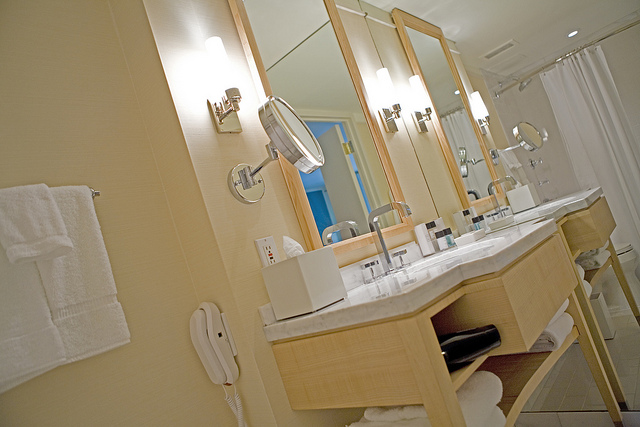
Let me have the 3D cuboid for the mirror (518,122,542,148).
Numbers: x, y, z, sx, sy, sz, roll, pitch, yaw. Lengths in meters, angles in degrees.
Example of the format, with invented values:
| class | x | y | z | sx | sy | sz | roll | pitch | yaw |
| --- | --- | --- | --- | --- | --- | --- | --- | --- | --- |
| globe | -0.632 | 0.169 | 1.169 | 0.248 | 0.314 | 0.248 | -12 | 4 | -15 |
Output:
| class | x | y | z | sx | sy | sz | roll | pitch | yaw |
| --- | --- | --- | --- | --- | --- | --- | --- | --- | --- |
| mirror | 1.838 | -0.690 | 3.700 | 0.241 | 0.238 | 0.056 | 29 | -44 | -24 |

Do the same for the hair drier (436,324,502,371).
| class | x | y | z | sx | sy | sz | roll | pitch | yaw |
| --- | --- | --- | --- | --- | --- | --- | --- | --- | --- |
| hair drier | 0.533 | 0.468 | 1.536 | 0.240 | 0.109 | 0.138 | -26 | -31 | 8 |

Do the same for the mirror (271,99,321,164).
| class | x | y | z | sx | sy | sz | roll | pitch | yaw |
| --- | --- | --- | --- | --- | --- | --- | --- | --- | --- |
| mirror | -0.085 | -0.334 | 1.685 | 0.103 | 0.264 | 0.239 | -14 | -3 | 31 |

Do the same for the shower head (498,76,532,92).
| class | x | y | z | sx | sy | sz | roll | pitch | yaw |
| --- | --- | --- | --- | --- | --- | --- | --- | --- | --- |
| shower head | 1.982 | -1.340 | 4.210 | 0.272 | 0.116 | 0.133 | -17 | 35 | 10 |

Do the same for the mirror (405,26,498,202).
| class | x | y | z | sx | sy | sz | roll | pitch | yaw |
| --- | --- | --- | --- | --- | --- | --- | --- | --- | --- |
| mirror | 1.022 | -0.785 | 3.152 | 0.660 | 1.519 | 0.065 | -12 | -7 | -44 |

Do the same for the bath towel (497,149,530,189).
| class | x | y | z | sx | sy | sz | roll | pitch | yaw |
| --- | --- | --- | --- | --- | --- | --- | --- | --- | --- |
| bath towel | 1.692 | -0.394 | 3.625 | 0.108 | 0.527 | 0.193 | -3 | 31 | 42 |

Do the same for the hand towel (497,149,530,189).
| class | x | y | z | sx | sy | sz | roll | pitch | yaw |
| --- | --- | --- | --- | --- | --- | --- | --- | --- | --- |
| hand towel | 1.759 | -0.403 | 3.761 | 0.156 | 0.395 | 0.084 | -22 | 30 | 24 |

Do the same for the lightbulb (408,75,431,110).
| class | x | y | z | sx | sy | sz | roll | pitch | yaw |
| --- | --- | --- | --- | --- | --- | --- | --- | --- | --- |
| lightbulb | 0.722 | -0.865 | 2.936 | 0.125 | 0.258 | 0.064 | -12 | -2 | -26 |
